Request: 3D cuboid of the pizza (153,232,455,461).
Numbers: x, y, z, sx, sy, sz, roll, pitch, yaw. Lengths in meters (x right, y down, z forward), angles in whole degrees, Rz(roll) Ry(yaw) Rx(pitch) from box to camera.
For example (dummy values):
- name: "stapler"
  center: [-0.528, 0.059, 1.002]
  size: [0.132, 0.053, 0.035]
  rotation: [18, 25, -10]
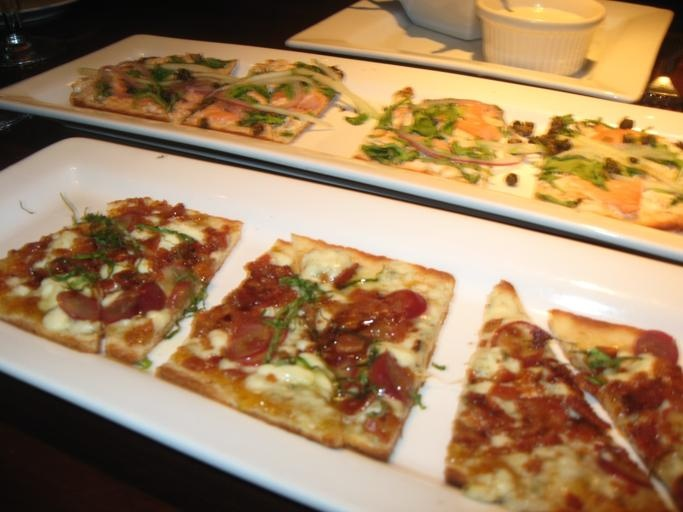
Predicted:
- name: "pizza"
  center: [-0.094, 0.320, 2.152]
  size: [1.026, 0.236, 0.937]
  rotation: [16, 47, 18]
